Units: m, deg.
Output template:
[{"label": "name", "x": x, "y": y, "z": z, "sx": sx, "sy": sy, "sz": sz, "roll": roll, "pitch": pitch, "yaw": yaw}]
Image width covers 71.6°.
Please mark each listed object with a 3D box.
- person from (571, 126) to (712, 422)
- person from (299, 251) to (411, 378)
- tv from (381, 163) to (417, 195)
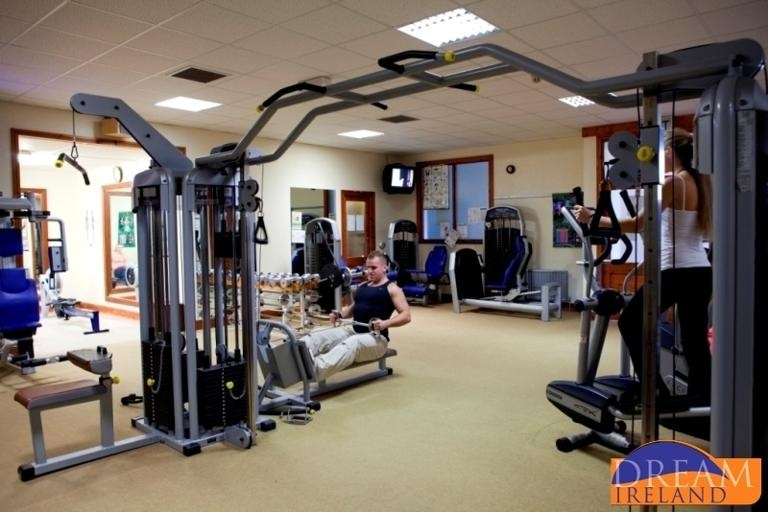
[{"label": "person", "x": 1.827, "y": 0.107, "z": 3.815, "sx": 1.056, "sy": 1.885, "sz": 0.835, "roll": -8, "pitch": -2, "yaw": 23}, {"label": "person", "x": -0.216, "y": 0.653, "z": 5.657, "sx": 0.906, "sy": 1.125, "sz": 1.540, "roll": 1, "pitch": -1, "yaw": 43}, {"label": "tv", "x": 0.306, "y": -1.657, "z": 11.504, "sx": 0.744, "sy": 0.669, "sz": 0.395, "roll": 1, "pitch": 3, "yaw": -26}]
